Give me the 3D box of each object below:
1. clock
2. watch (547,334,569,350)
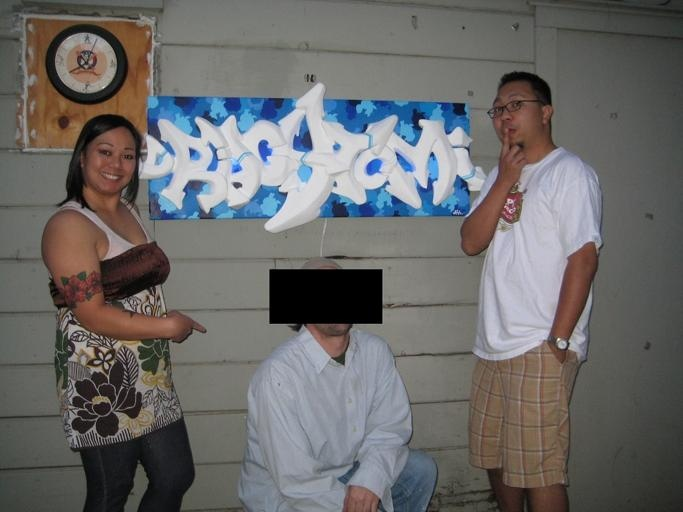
[{"bbox_3d":[-1.510,-1.037,3.619,0.282,0.307,0.273,22,-33,-37],"label":"clock"},{"bbox_3d":[1.084,0.430,3.174,0.072,0.083,0.075,7,-6,43],"label":"watch"}]
